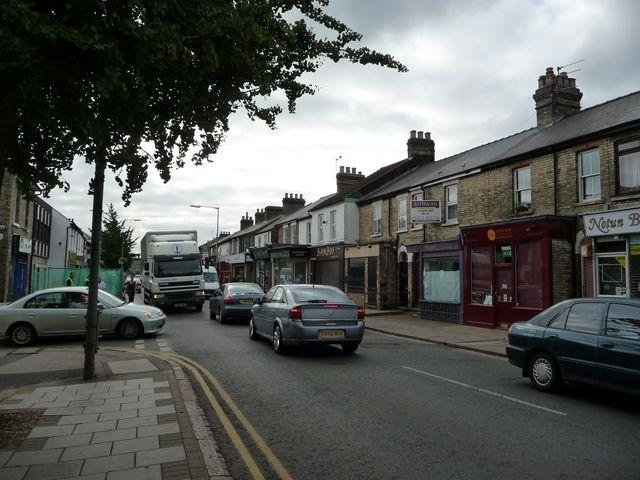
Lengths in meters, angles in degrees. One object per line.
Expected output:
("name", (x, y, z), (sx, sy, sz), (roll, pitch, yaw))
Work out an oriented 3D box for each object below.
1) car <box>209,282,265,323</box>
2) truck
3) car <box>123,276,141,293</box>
("car", (-3.391, 2.386, 20.963), (1.114, 1.051, 2.770), (1, -2, -17))
("truck", (-6.738, 1.452, 24.912), (2.564, 2.710, 3.138), (1, -1, -17))
("car", (-13.055, 3.087, 37.913), (0.977, 0.883, 2.414), (3, 10, -16))
